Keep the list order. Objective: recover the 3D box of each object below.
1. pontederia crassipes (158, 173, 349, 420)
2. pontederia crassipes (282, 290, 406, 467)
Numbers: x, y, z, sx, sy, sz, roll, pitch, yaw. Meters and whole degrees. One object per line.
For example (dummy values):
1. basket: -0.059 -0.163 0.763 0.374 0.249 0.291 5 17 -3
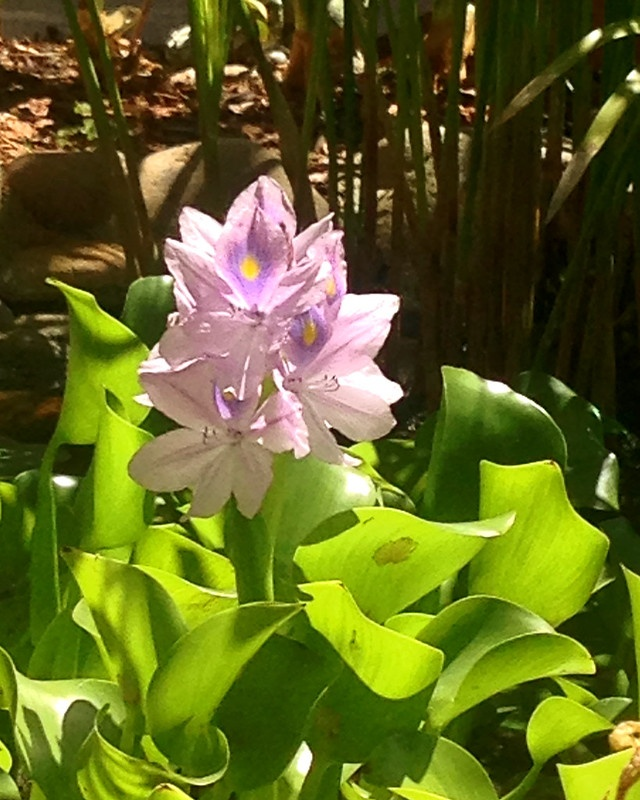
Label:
1. pontederia crassipes: -0.037 -0.055 0.432 0.074 0.104 0.055 4 25 10
2. pontederia crassipes: 0.004 -0.012 0.464 0.036 0.086 0.073 5 -22 45
